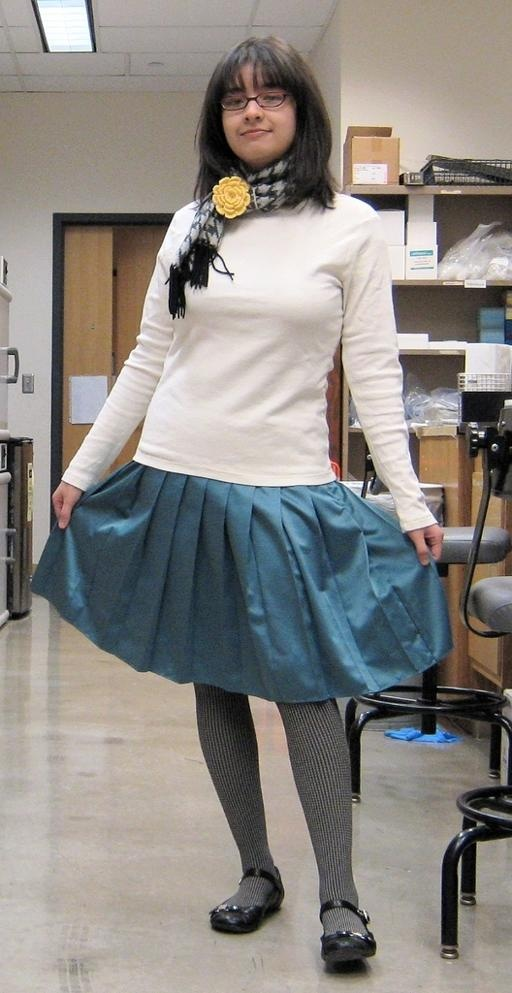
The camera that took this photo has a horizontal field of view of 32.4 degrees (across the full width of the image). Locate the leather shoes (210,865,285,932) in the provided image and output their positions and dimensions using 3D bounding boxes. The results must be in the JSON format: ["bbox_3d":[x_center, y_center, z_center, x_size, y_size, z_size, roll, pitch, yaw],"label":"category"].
[{"bbox_3d":[-0.011,0.630,1.398,0.058,0.064,0.148,-4,-8,25],"label":"leather shoes"}]

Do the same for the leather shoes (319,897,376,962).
[{"bbox_3d":[0.125,0.575,1.168,0.052,0.055,0.116,-3,-12,1],"label":"leather shoes"}]
